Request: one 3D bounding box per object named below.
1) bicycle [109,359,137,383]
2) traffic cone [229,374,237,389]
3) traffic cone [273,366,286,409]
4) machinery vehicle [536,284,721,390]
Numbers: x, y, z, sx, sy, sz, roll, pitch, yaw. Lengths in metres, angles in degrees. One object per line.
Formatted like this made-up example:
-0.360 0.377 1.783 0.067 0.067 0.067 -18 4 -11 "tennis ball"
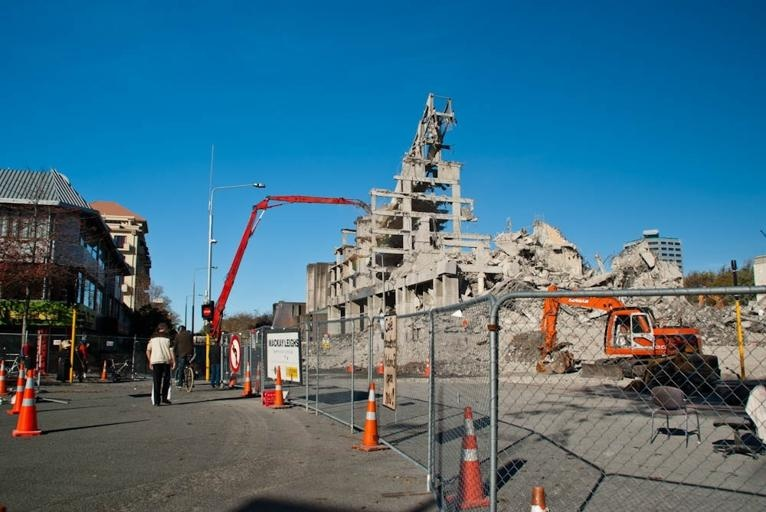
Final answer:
-13.200 5.868 33.760 1.576 1.000 1.047 -5 -10 32 "bicycle"
-6.144 5.099 26.928 0.279 0.560 0.937 2 -9 -15 "traffic cone"
-3.207 4.025 20.328 0.251 1.263 0.466 1 -8 -8 "traffic cone"
10.089 3.309 27.037 4.492 4.072 10.538 1 -9 -10 "machinery vehicle"
